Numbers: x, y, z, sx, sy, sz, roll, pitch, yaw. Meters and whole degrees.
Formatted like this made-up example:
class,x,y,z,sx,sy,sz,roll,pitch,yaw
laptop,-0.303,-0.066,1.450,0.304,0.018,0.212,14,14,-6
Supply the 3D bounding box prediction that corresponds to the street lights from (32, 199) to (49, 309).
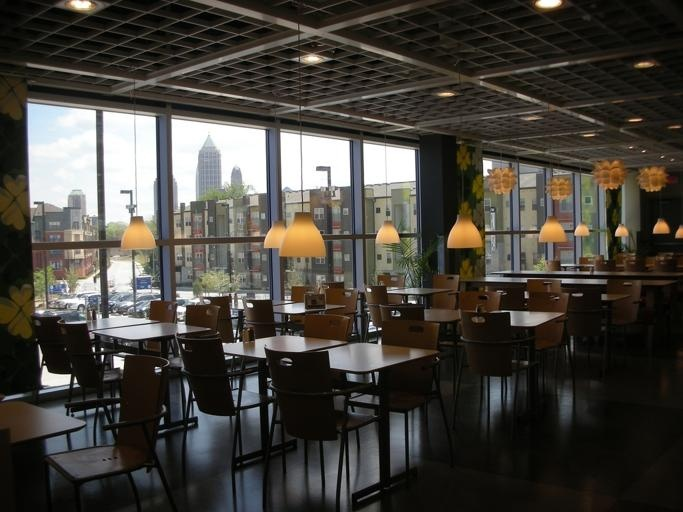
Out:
class,x,y,z,sx,sy,sz,roll,pitch,yaw
street lights,-3.407,-0.085,6.553,0.147,1.581,0.097,-4,17,-30
